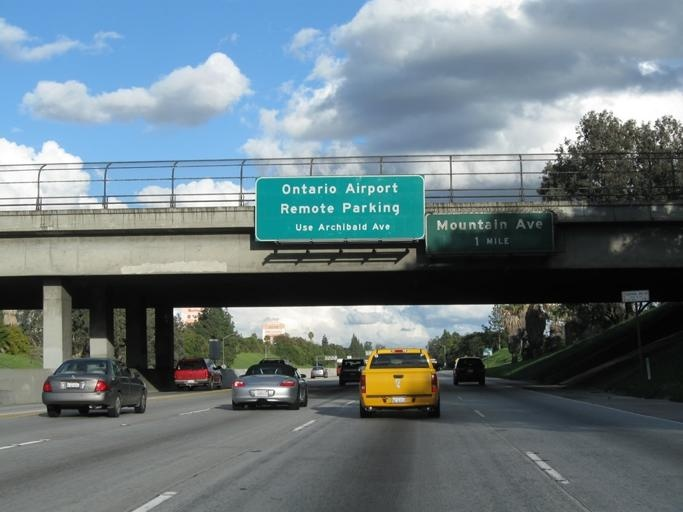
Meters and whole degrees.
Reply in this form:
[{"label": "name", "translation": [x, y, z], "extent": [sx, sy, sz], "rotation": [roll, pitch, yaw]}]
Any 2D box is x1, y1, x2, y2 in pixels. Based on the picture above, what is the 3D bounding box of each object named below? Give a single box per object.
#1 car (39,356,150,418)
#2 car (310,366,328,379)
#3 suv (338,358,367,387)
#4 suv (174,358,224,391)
[{"label": "car", "translation": [-8.467, 4.560, 28.000], "extent": [2.714, 1.984, 4.482], "rotation": [-2, -7, 21]}, {"label": "car", "translation": [-2.903, 14.818, 102.208], "extent": [1.887, 1.401, 3.404], "rotation": [1, -7, -6]}, {"label": "suv", "translation": [0.736, 8.603, 59.811], "extent": [1.803, 1.800, 3.236], "rotation": [0, 1, 2]}, {"label": "suv", "translation": [-9.127, 7.648, 52.219], "extent": [1.630, 1.506, 3.643], "rotation": [0, -3, 6]}]
